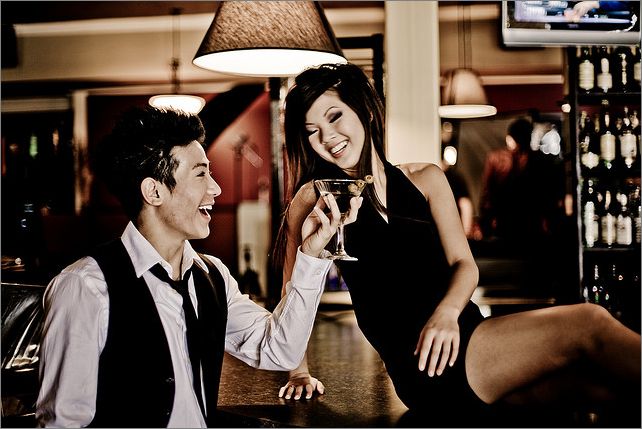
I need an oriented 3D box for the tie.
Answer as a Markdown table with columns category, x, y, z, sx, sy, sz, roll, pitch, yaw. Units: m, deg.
| category | x | y | z | sx | sy | sz | roll | pitch | yaw |
| --- | --- | --- | --- | --- | --- | --- | --- | --- | --- |
| tie | -0.673 | 0.590 | 3.027 | 0.225 | 0.725 | 0.166 | 0 | 0 | -32 |
